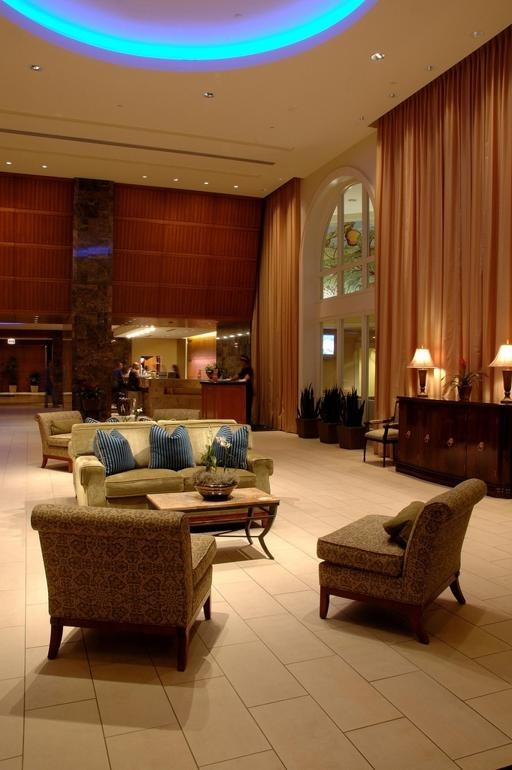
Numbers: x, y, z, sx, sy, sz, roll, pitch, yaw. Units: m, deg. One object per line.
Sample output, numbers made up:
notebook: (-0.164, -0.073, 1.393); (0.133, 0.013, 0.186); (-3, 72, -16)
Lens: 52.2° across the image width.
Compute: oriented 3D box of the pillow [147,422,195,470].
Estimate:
pillow: (-0.819, 0.605, 5.028); (0.324, 0.346, 0.181); (-2, -30, -23)

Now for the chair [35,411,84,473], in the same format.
chair: (-2.864, 0.799, 7.794); (0.646, 0.736, 0.655); (4, 3, -9)

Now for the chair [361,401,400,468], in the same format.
chair: (2.029, 0.700, 8.167); (0.642, 0.990, 0.677); (3, -1, 30)

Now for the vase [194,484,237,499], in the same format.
vase: (-0.295, 0.791, 3.894); (0.290, 0.129, 0.191); (0, -1, 10)

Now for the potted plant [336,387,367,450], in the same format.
potted plant: (1.634, 0.644, 9.810); (0.450, 1.090, 0.437); (10, -2, -34)

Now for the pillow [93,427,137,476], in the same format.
pillow: (-1.309, 0.616, 4.832); (0.330, 0.385, 0.447); (0, -1, 21)

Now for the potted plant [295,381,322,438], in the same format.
potted plant: (1.134, 0.632, 11.483); (0.443, 1.061, 0.500); (-1, 1, 2)

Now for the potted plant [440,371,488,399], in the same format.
potted plant: (2.621, 0.002, 6.727); (0.348, 0.276, 0.356); (1, -3, -36)

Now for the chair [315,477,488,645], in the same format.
chair: (0.788, 0.869, 2.824); (0.876, 0.727, 0.930); (-1, 1, -14)

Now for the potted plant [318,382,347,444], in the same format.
potted plant: (1.568, 0.634, 10.496); (0.394, 1.084, 0.458); (-7, -4, 36)

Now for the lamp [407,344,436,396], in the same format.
lamp: (2.364, -0.180, 7.431); (0.365, 0.674, 0.370); (0, -6, 16)

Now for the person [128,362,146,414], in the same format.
person: (-3.293, 0.080, 14.570); (0.438, 0.989, 1.579); (1, 0, -10)

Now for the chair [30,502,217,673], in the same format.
chair: (-0.552, 0.821, 2.453); (0.606, 0.737, 0.853); (2, 1, 4)

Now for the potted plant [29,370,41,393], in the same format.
potted plant: (-11.097, -0.167, 26.404); (0.502, 1.038, 0.593); (1, -1, -25)

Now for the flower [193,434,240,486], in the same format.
flower: (-0.324, 0.541, 3.997); (0.370, 0.435, 0.270); (4, -5, -10)
